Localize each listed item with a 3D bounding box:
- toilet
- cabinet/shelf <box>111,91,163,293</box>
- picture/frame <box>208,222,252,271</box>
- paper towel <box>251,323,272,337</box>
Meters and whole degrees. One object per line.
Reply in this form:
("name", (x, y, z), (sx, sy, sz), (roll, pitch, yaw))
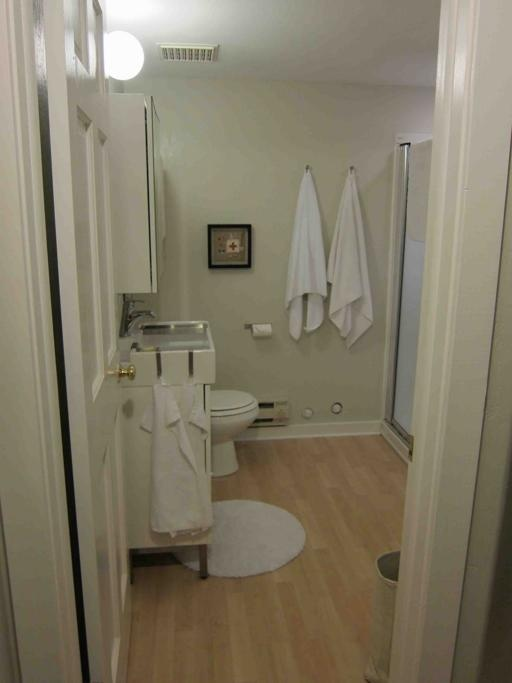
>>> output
("toilet", (-0.126, 0.534, 2.977), (0.255, 0.465, 0.407), (-1, 9, -5))
("cabinet/shelf", (-0.532, -0.803, 2.482), (0.123, 0.753, 1.174), (-1, 19, -5))
("picture/frame", (-0.169, -0.604, 3.186), (0.170, 0.297, 0.017), (-1, 9, -7))
("paper towel", (0.038, -0.068, 3.325), (0.134, 0.094, 0.060), (0, 9, -1))
